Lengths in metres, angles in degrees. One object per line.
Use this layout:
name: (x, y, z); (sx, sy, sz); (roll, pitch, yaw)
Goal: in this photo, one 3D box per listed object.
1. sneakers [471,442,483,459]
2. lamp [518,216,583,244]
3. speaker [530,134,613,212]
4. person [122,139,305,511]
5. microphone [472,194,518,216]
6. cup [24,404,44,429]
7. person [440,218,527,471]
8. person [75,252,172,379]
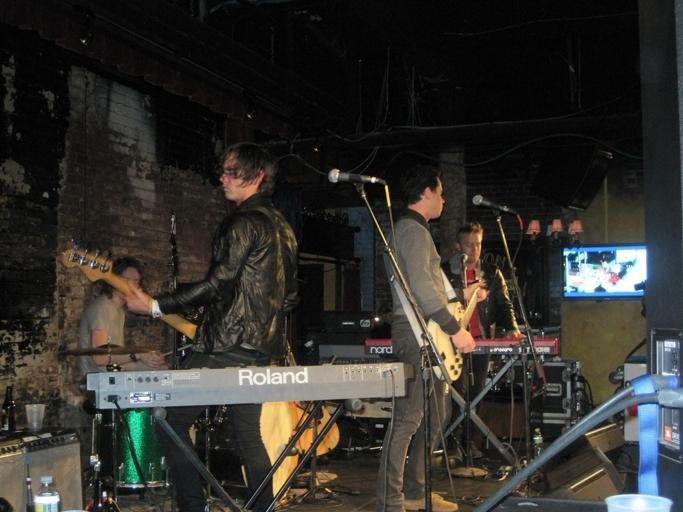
sneakers: (1.199, 1.729, 8.079); (0.079, 0.096, 0.247); (-2, -23, 6)
lamp: (2.922, -0.364, 12.576); (0.527, 0.247, 0.609); (3, -8, -2)
speaker: (2.244, -0.810, 8.915); (0.755, 0.579, 0.503); (-3, -6, 12)
person: (-0.658, 0.389, 5.253); (0.902, 2.159, 0.507); (0, -5, -15)
microphone: (1.137, -0.398, 6.749); (0.212, 0.160, 0.691); (-3, -7, 18)
cup: (-2.124, 1.121, 6.309); (0.113, 0.180, 0.213); (1, -7, -25)
person: (1.184, 0.790, 7.765); (0.702, 2.165, 0.482); (-2, 18, 0)
person: (-1.798, 0.463, 7.221); (0.864, 1.257, 0.881); (-1, -4, -11)
